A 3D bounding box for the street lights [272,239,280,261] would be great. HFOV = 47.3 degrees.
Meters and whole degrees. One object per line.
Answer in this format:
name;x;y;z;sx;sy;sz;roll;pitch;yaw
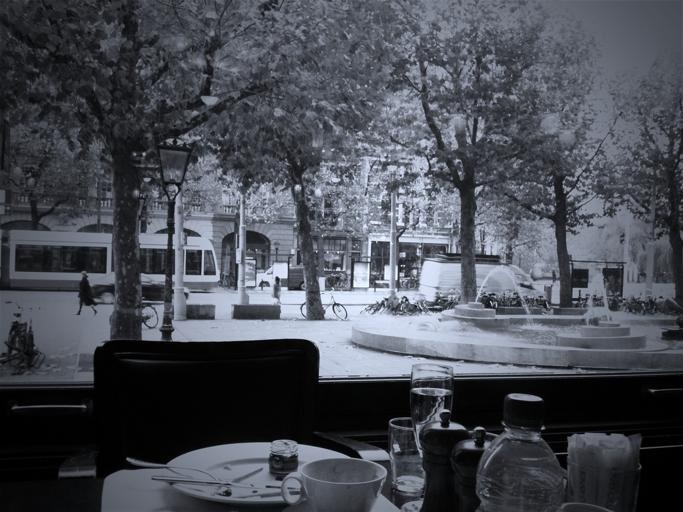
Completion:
street lights;-0.331;-0.029;3.933;0.039;0.097;0.076;0;-4;-8
